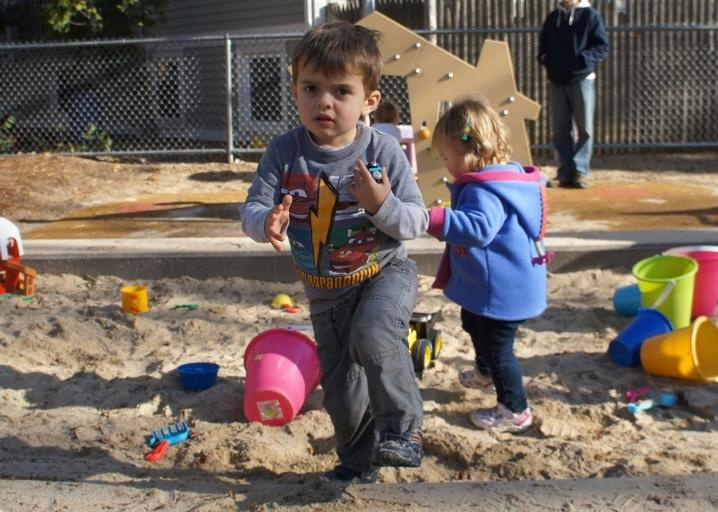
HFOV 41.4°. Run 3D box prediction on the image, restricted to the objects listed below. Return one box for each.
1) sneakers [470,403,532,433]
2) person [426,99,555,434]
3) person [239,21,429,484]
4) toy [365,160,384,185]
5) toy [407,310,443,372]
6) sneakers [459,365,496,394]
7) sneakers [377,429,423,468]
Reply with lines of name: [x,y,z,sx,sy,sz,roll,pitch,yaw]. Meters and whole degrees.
sneakers: [1.102,1.294,7.556,0.527,0.259,0.192,3,16,4]
person: [1.020,0.095,7.379,0.902,2.619,0.773,0,12,7]
person: [-0.124,0.000,6.842,1.335,3.350,0.963,3,12,18]
toy: [0.117,-0.587,6.684,0.118,0.129,0.204,-1,11,0]
toy: [0.565,0.720,7.969,0.335,0.318,0.472,-1,3,13]
sneakers: [0.969,1.036,7.830,0.336,0.167,0.132,23,39,36]
sneakers: [0.277,1.360,6.630,0.366,0.223,0.210,-5,12,-17]
